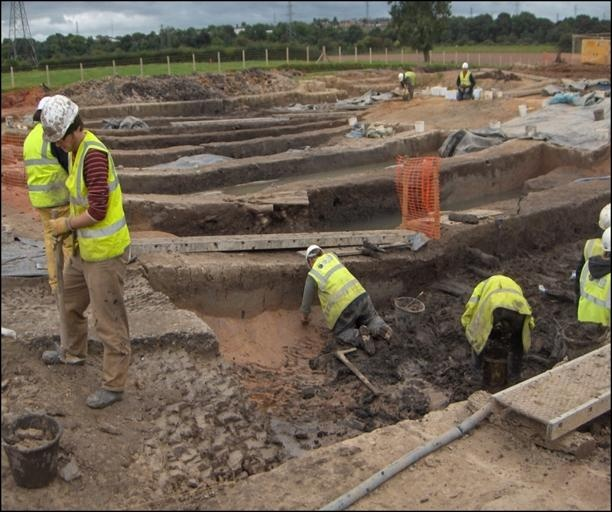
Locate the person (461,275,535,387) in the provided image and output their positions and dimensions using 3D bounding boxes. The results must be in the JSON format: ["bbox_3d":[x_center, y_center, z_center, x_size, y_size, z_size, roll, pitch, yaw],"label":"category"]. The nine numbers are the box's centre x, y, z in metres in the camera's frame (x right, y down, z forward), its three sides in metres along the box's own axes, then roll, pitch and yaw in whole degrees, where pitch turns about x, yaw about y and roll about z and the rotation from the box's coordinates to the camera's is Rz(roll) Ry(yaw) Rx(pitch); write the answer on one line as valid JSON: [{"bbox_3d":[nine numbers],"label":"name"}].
[{"bbox_3d":[1.948,0.625,7.608,0.728,1.215,0.537,-5,15,-17],"label":"person"}]

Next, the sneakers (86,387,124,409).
[{"bbox_3d":[-1.735,1.232,6.243,0.268,0.209,0.150,10,-4,-34],"label":"sneakers"}]

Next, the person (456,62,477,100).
[{"bbox_3d":[4.438,-4.871,20.016,0.465,0.941,1.962,1,17,12],"label":"person"}]

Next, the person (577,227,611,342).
[{"bbox_3d":[2.839,0.190,7.015,0.208,0.977,0.530,-6,16,-17],"label":"person"}]

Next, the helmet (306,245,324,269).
[{"bbox_3d":[0.096,-0.007,8.452,0.183,0.244,0.256,-20,-10,-14],"label":"helmet"}]

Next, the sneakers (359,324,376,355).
[{"bbox_3d":[0.677,0.939,8.016,0.137,0.348,0.093,-13,-10,-24],"label":"sneakers"}]

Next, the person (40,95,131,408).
[{"bbox_3d":[-1.863,-0.016,6.130,0.670,2.634,0.535,3,16,17],"label":"person"}]

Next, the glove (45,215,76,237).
[{"bbox_3d":[-2.033,-0.247,6.061,0.249,0.183,0.133,2,16,14],"label":"glove"}]

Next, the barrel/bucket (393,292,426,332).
[{"bbox_3d":[1.215,0.624,8.196,0.351,0.289,0.311,-11,25,-21],"label":"barrel/bucket"}]

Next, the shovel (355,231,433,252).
[{"bbox_3d":[1.169,-0.167,9.343,0.892,0.146,0.361,-3,51,-8],"label":"shovel"}]

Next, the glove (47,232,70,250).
[{"bbox_3d":[-2.096,-0.128,6.132,0.148,0.128,0.114,-11,-5,44],"label":"glove"}]

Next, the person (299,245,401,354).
[{"bbox_3d":[0.466,0.509,8.088,0.718,1.403,0.455,-28,-6,-31],"label":"person"}]

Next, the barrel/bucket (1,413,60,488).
[{"bbox_3d":[-2.218,1.541,5.887,0.448,0.505,0.529,10,18,-8],"label":"barrel/bucket"}]

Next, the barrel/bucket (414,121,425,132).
[{"bbox_3d":[2.466,-2.807,15.673,0.243,0.283,0.248,0,6,0],"label":"barrel/bucket"}]

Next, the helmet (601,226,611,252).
[{"bbox_3d":[2.848,-0.158,6.852,0.112,0.193,0.108,11,12,7],"label":"helmet"}]

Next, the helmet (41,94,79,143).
[{"bbox_3d":[-2.028,-1.158,6.008,0.259,0.407,0.225,-1,-28,20],"label":"helmet"}]

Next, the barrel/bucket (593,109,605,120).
[{"bbox_3d":[5.864,-2.842,14.514,0.212,0.265,0.229,-11,2,0],"label":"barrel/bucket"}]
